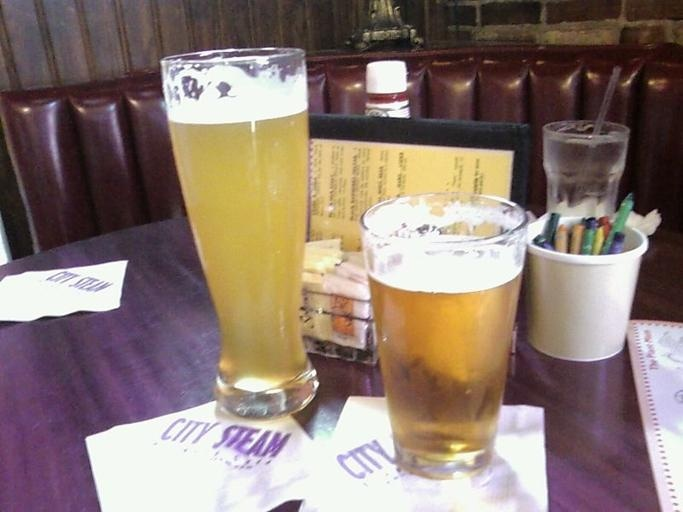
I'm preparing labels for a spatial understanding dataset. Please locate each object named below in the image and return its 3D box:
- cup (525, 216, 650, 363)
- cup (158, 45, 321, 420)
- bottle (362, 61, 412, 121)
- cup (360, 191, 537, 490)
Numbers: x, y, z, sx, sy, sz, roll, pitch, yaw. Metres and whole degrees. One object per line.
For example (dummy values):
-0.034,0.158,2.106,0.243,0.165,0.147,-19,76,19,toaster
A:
0.285,0.040,0.718,0.165,0.136,0.162,-2,18,1,cup
-0.092,-0.018,0.574,0.144,0.372,0.156,-1,26,0,cup
0.063,-0.227,0.722,0.057,0.071,0.095,1,25,3,bottle
0.095,0.074,0.499,0.138,0.243,0.134,-1,26,0,cup
